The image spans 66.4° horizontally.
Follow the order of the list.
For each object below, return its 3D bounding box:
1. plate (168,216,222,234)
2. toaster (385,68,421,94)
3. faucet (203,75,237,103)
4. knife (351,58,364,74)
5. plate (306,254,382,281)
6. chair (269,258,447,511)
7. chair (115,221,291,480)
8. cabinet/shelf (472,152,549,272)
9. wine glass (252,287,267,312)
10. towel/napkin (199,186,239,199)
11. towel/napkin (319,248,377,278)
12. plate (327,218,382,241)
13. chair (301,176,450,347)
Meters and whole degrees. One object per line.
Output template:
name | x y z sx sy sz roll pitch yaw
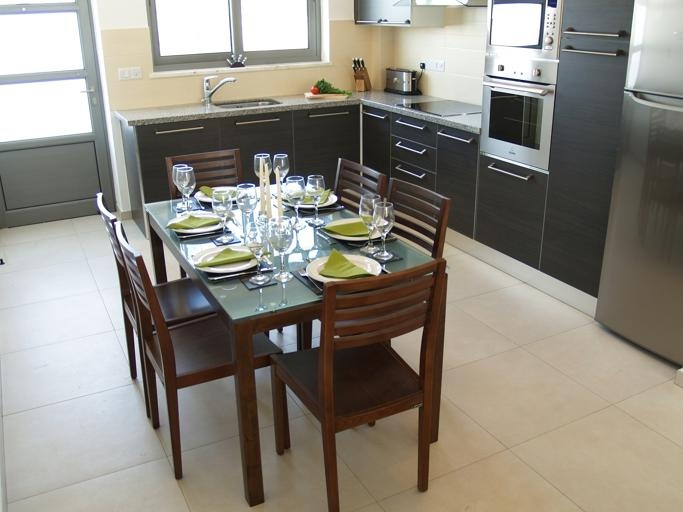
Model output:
plate | -0.749 -0.159 2.637 0.139 0.022 0.138 17 24 36
toaster | 0.591 -1.785 5.330 0.177 0.233 0.476 -19 28 -32
faucet | -1.170 -1.585 4.960 0.333 0.235 0.349 -8 24 -11
knife | 0.171 -2.000 5.466 0.121 0.193 0.144 -2 24 -4
plate | 0.030 0.036 2.233 0.160 0.023 0.167 10 30 21
chair | 0.066 0.551 2.157 0.524 1.100 0.603 -14 35 -24
chair | -0.640 0.397 2.420 0.642 1.061 0.659 -7 17 -16
cabinet/shelf | 1.233 -0.338 3.759 0.471 0.759 0.520 -13 31 -28
wine glass | -0.320 0.173 2.030 0.059 0.097 0.063 -6 22 -17
towel/napkin | -0.675 -0.344 2.841 0.160 0.029 0.164 -4 22 -19
towel/napkin | -0.002 0.052 2.156 0.118 0.056 0.158 -5 20 -26
plate | 0.027 -0.128 2.535 0.145 0.024 0.154 23 32 38
chair | 0.129 0.025 2.320 0.517 0.920 0.503 -17 38 -29
